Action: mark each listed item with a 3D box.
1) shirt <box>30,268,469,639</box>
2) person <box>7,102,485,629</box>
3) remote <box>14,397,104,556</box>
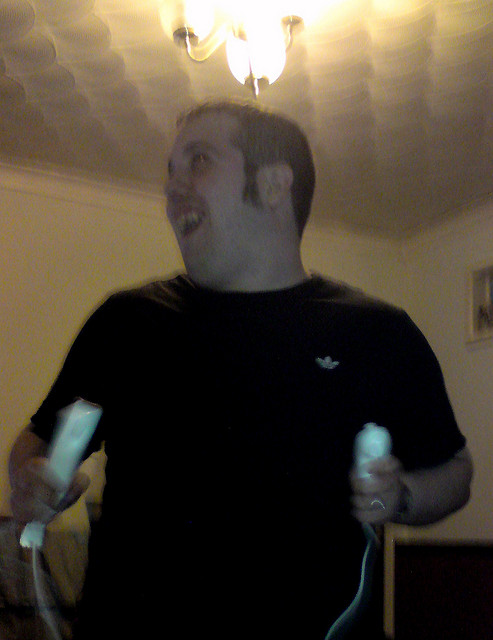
[{"bbox_3d":[0.022,0.141,1.235,0.684,0.784,0.459,8,-32,1],"label":"shirt"},{"bbox_3d":[0.001,0.035,1.036,0.683,0.814,0.209,1,-5,-1],"label":"person"},{"bbox_3d":[-0.286,0.231,0.973,0.152,0.234,0.067,-4,-7,39],"label":"remote"}]
